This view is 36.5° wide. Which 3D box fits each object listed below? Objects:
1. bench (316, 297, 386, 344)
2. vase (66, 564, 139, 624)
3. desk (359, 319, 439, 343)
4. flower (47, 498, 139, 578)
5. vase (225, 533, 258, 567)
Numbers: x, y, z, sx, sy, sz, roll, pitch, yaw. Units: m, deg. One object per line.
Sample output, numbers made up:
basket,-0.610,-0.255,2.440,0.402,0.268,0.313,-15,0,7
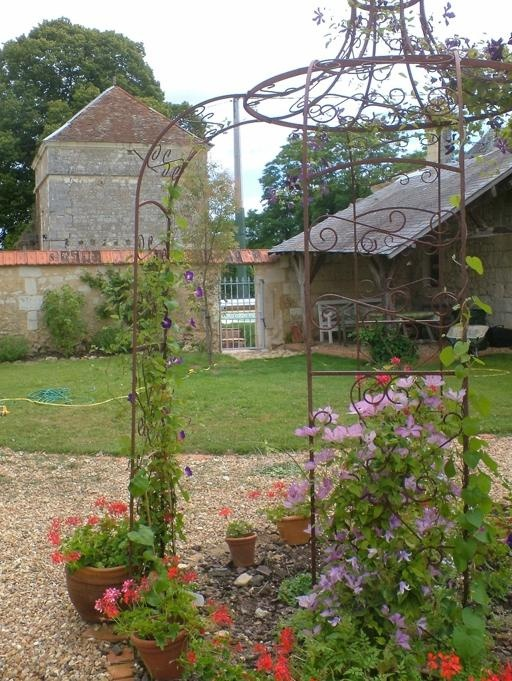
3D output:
bench,1.615,-0.343,12.947,1.267,0.639,0.391,-5,5,-14
vase,-0.635,1.038,3.243,0.300,0.179,0.263,1,-11,1
desk,2.041,-0.134,11.388,0.876,0.347,0.943,-2,3,-3
flower,-0.728,0.848,3.432,0.543,0.293,0.496,5,-9,-25
vase,-0.065,0.991,3.712,0.166,0.107,0.160,-1,-1,-43
